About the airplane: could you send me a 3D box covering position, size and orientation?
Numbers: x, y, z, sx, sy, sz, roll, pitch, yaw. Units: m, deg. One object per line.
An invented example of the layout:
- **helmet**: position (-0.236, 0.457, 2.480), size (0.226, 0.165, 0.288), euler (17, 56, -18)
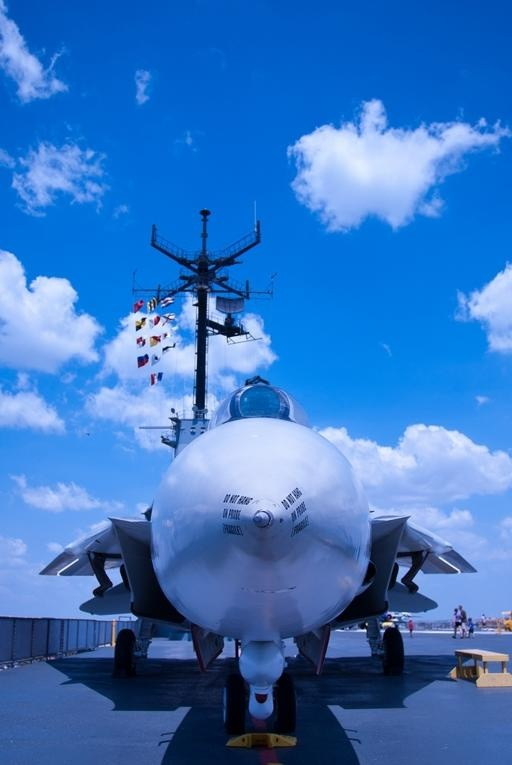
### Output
- **airplane**: position (-0.151, 1.552, 7.738), size (3.755, 1.939, 5.102), euler (-1, -17, 2)
